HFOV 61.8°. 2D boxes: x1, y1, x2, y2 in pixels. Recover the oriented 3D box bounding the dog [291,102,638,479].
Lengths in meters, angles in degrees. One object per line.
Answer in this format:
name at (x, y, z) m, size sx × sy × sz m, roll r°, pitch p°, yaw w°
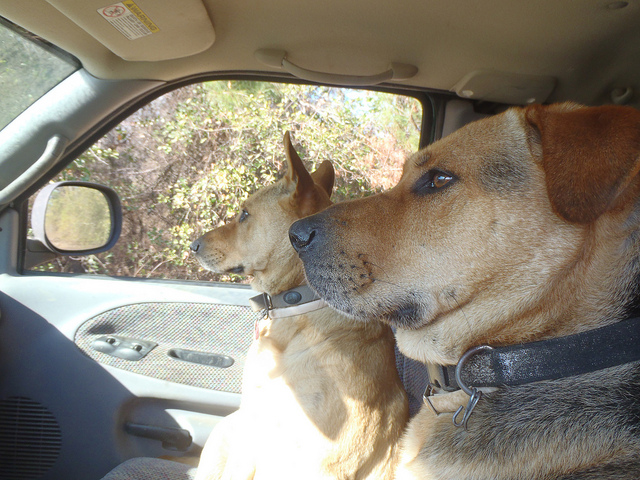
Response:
dog at (0.688, 0.324, 2.512) m, size 1.566 × 1.305 × 1.449 m, roll 2°, pitch 79°, yaw 3°
